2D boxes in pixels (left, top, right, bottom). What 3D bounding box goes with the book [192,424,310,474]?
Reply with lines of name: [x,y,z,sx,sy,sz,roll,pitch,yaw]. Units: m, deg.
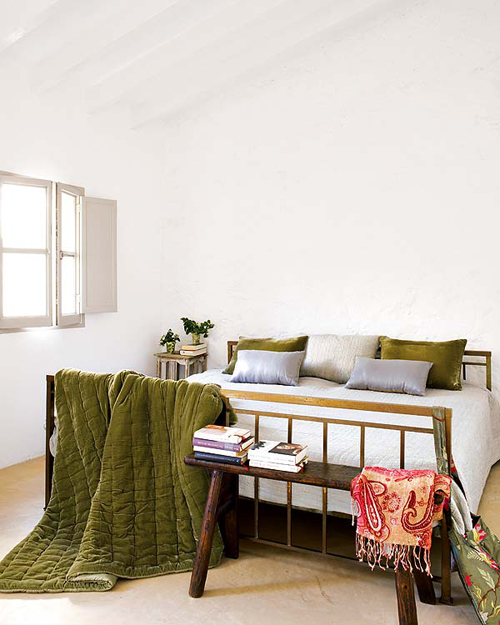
book: [-0.004,0.449,1.846,0.276,0.070,0.170,5,6,18]

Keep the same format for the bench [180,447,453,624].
bench: [0.221,0.760,1.863,0.909,0.499,0.441,0,2,26]

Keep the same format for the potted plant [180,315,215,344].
potted plant: [-0.454,0.127,4.582,0.253,0.232,0.233,2,4,32]

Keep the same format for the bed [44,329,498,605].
bed: [0.263,0.553,2.084,1.217,0.588,1.238,0,2,17]

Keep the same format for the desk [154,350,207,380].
desk: [-0.643,0.463,4.617,0.307,0.437,0.330,0,0,30]

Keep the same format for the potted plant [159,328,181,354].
potted plant: [-0.721,0.253,4.648,0.179,0.213,0.208,3,6,27]
